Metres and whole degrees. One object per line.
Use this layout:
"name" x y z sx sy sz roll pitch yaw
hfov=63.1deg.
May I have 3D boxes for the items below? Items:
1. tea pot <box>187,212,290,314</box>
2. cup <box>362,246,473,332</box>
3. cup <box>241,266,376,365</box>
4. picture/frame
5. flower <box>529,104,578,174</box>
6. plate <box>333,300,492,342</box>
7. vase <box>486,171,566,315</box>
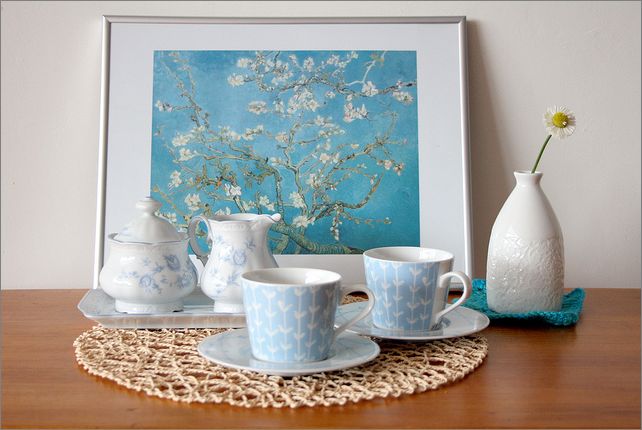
"tea pot" -0.144 0.081 0.901 0.171 0.162 0.129 -1 0 0
"cup" 0.158 0.112 0.851 0.155 0.101 0.126 1 3 21
"cup" -0.011 0.150 0.750 0.183 0.105 0.121 0 -4 -7
"picture/frame" -0.096 -0.131 1.062 0.644 0.441 0.020 0 -4 -3
"flower" 0.412 -0.151 0.914 0.048 0.077 0.149 3 11 22
"plate" 0.151 0.176 0.857 0.222 0.023 0.221 -1 6 17
"vase" 0.347 0.050 0.888 0.118 0.237 0.059 3 12 19
